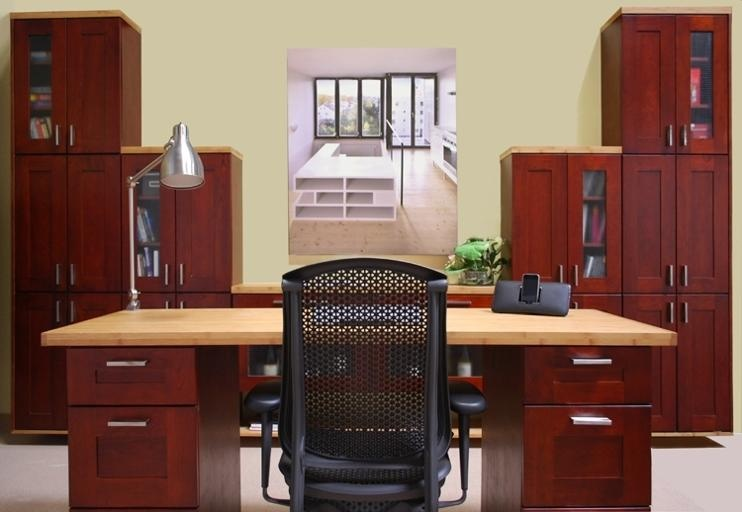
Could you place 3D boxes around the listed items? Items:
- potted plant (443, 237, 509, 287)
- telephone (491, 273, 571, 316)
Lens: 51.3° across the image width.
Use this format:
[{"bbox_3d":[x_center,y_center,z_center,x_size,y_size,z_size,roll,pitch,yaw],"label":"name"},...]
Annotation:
[{"bbox_3d":[0.769,0.051,5.588,0.382,0.160,0.374,-7,4,-32],"label":"potted plant"},{"bbox_3d":[0.907,0.233,4.378,0.348,0.219,0.258,-3,-38,17],"label":"telephone"}]
